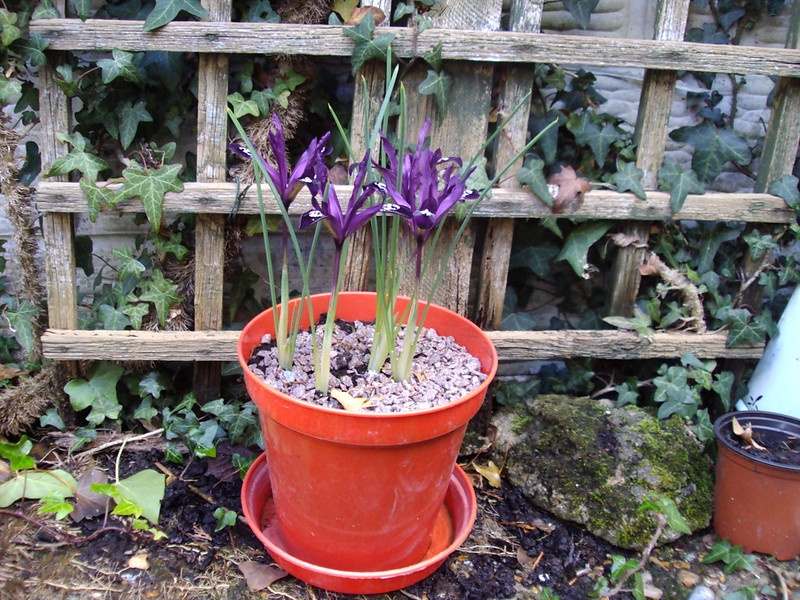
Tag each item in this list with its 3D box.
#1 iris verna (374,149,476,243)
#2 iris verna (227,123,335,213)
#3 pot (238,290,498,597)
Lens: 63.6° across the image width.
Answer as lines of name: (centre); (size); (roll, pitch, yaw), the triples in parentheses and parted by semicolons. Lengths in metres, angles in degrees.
iris verna: (0.057, -0.321, 1.981); (0.309, 0.221, 0.304); (24, 28, 31)
iris verna: (-0.371, -0.382, 2.023); (0.325, 0.301, 0.313); (-10, 22, -16)
pot: (-0.101, 0.504, 2.107); (0.814, 0.807, 0.524); (-4, 21, -14)
